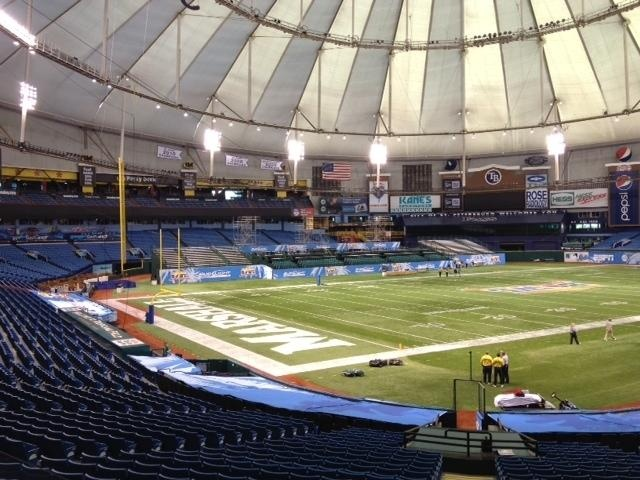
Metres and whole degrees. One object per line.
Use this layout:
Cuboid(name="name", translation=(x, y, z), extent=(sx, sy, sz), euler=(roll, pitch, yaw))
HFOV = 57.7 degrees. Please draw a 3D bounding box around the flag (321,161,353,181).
Cuboid(name="flag", translation=(2.468, -10.313, 88.736), extent=(5.986, 2.282, 0.203), euler=(0, -8, -8))
